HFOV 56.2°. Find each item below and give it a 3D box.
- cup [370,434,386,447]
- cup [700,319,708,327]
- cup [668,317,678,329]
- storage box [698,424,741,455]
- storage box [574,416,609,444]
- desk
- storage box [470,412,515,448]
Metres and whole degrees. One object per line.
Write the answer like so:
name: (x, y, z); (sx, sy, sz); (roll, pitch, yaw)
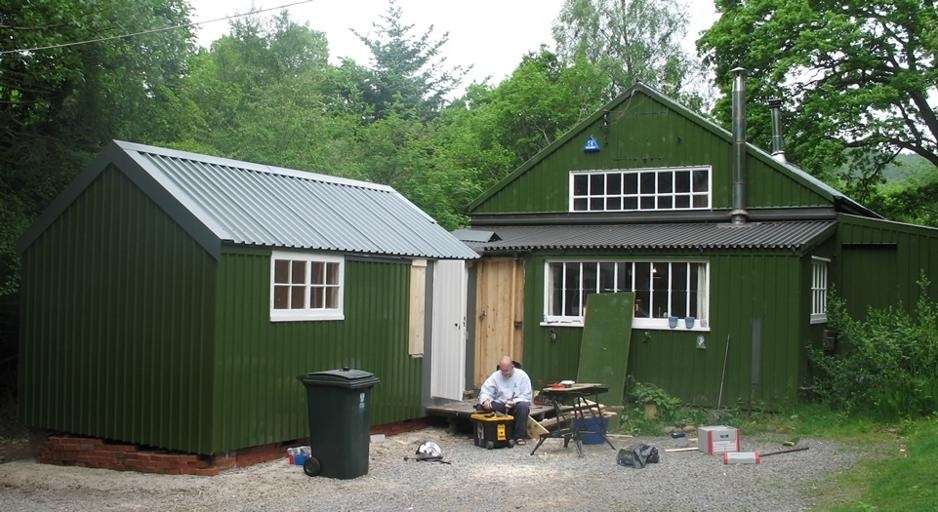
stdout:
cup: (-2.562, 5.114, 24.432); (0.252, 0.163, 0.342); (3, 0, 18)
cup: (7.105, 2.030, 26.550); (0.154, 0.288, 0.208); (11, -13, -43)
cup: (6.195, 2.012, 26.696); (0.332, 0.346, 0.326); (1, -5, 0)
storage box: (6.755, 4.962, 23.744); (1.068, 0.746, 0.570); (-2, -10, 6)
storage box: (3.465, 4.845, 24.482); (0.821, 0.667, 0.907); (0, -9, -1)
desk: (2.948, 4.543, 24.913); (1.832, 1.923, 2.295); (-1, -1, 28)
storage box: (0.671, 4.867, 24.781); (0.942, 0.878, 1.261); (-1, -2, -18)
